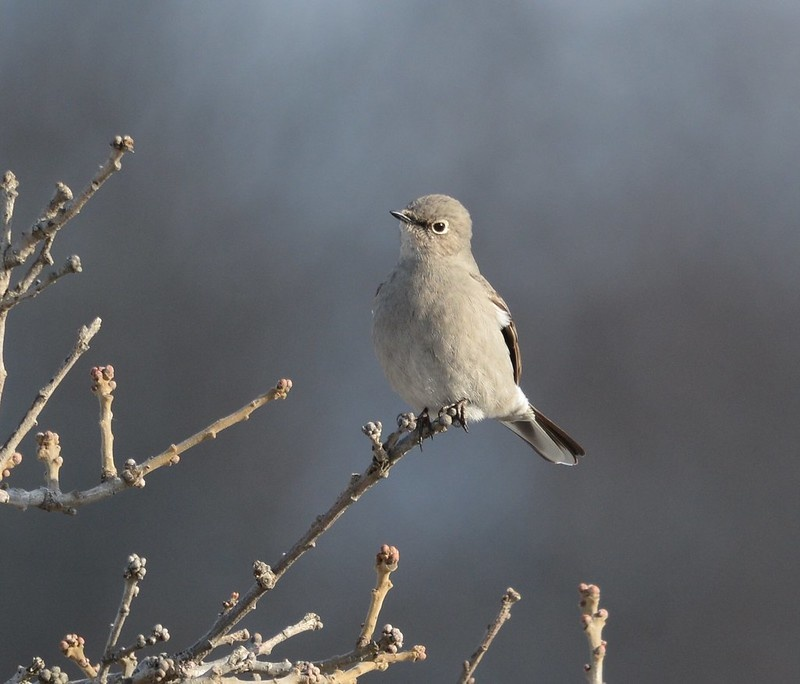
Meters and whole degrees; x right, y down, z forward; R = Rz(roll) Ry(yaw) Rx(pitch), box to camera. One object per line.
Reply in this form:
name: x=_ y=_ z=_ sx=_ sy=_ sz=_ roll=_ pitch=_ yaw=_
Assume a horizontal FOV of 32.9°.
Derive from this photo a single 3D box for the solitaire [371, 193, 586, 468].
solitaire: x=0.373 y=-0.056 z=6.393 sx=0.619 sy=1.080 sz=1.230 roll=-3 pitch=-10 yaw=38
